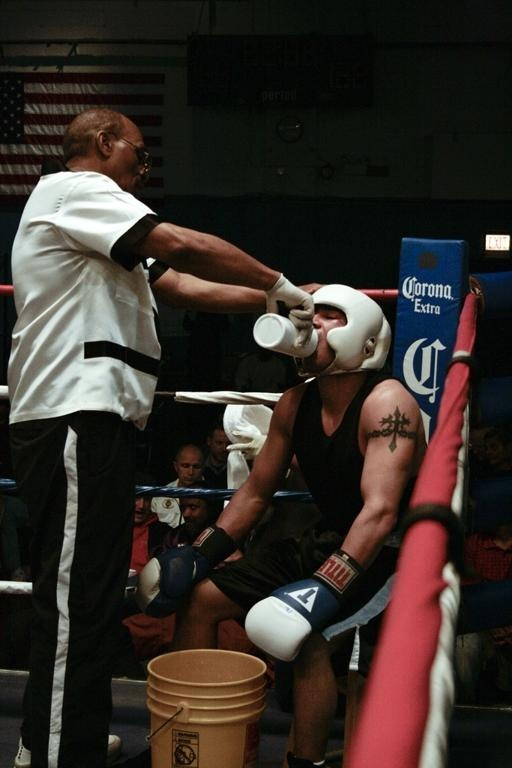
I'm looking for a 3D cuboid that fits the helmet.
[{"bbox_3d":[0.260,-0.149,2.033,0.285,0.233,0.201,-2,0,-21],"label":"helmet"}]

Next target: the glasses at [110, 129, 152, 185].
[{"bbox_3d":[-0.321,-0.610,2.097,0.037,0.114,0.118,-38,-32,6],"label":"glasses"}]

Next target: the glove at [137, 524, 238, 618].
[{"bbox_3d":[-0.212,0.476,2.081,0.162,0.109,0.299,26,27,23],"label":"glove"}]

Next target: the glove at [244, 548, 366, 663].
[{"bbox_3d":[0.121,0.487,1.823,0.173,0.117,0.326,32,47,25],"label":"glove"}]

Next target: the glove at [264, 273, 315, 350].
[{"bbox_3d":[0.108,-0.184,2.052,0.134,0.182,0.158,-16,-1,24],"label":"glove"}]
